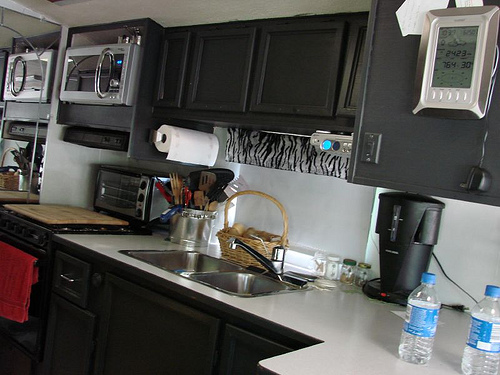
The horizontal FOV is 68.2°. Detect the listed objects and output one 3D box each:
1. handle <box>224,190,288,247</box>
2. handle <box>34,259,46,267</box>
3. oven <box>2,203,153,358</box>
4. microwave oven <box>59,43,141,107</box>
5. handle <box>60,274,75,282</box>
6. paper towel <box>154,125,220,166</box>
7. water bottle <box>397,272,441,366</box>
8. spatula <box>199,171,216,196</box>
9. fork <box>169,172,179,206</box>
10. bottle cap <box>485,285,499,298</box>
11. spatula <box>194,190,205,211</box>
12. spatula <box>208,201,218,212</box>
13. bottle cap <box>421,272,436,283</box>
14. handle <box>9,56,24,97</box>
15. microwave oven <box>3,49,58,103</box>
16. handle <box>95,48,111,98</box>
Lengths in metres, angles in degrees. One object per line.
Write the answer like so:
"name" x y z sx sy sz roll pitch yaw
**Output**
"handle" 0.057 0.143 2.165 0.252 0.334 0.320 -6 10 -43
"handle" -1.175 0.426 2.066 0.012 0.034 0.047 -2 0 18
"oven" -1.338 0.378 2.713 0.825 1.150 1.212 10 3 -42
"microwave oven" -0.932 -0.674 2.519 0.546 0.501 0.501 -5 14 -44
"handle" -1.015 0.505 2.052 0.098 0.028 0.010 3 -13 46
"paper towel" -0.422 -0.281 2.408 0.356 0.243 0.268 -6 13 -43
"water bottle" 0.568 0.416 1.225 0.107 0.285 0.207 9 4 28
"spatula" -0.274 -0.027 2.322 0.086 0.142 0.020 6 1 29
"fork" -0.494 0.013 2.377 0.034 0.240 0.029 -3 -4 8
"bottle cap" 0.737 0.313 1.129 0.042 0.032 0.041 2 -3 4
"spatula" -0.316 0.080 2.321 0.066 0.115 0.035 0 1 24
"spatula" -0.231 0.122 2.357 0.045 0.051 0.105 -7 13 20
"bottle cap" 0.581 0.295 1.197 0.040 0.024 0.039 3 -2 -8
"handle" -1.716 -0.838 2.752 0.042 0.242 0.205 6 8 -18
"microwave oven" -1.599 -0.833 2.713 0.382 0.318 0.192 6 4 28
"handle" -0.955 -0.743 2.377 0.133 0.321 0.053 10 5 38
